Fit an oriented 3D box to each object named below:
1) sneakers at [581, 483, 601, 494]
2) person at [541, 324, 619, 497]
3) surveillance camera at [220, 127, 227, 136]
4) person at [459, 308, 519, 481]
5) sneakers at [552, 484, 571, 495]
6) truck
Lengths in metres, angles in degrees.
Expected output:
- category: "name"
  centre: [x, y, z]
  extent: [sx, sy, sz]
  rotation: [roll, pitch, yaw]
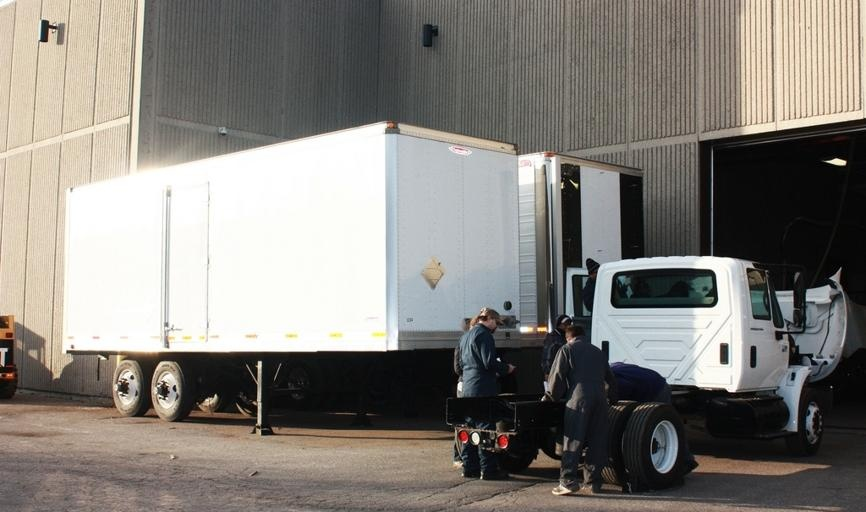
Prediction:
- category: "sneakers"
  centre: [3.253, 4.805, 21.934]
  extent: [0.157, 0.191, 0.430]
  rotation: [0, 2, -22]
- category: "person"
  centre: [3.044, 3.227, 21.911]
  extent: [1.247, 3.395, 0.663]
  rotation: [1, 6, 8]
- category: "surveillance camera"
  centre: [-6.628, -3.885, 33.111]
  extent: [0.136, 0.235, 0.255]
  rotation: [-8, -8, 34]
- category: "person"
  centre: [1.009, 2.950, 22.808]
  extent: [0.998, 3.541, 1.112]
  rotation: [0, 6, 2]
- category: "sneakers"
  centre: [2.630, 4.810, 21.874]
  extent: [0.167, 0.199, 0.418]
  rotation: [0, -1, -31]
- category: "truck"
  centre: [5.093, 2.410, 23.285]
  extent: [7.316, 3.659, 4.399]
  rotation: [-3, 2, -40]
